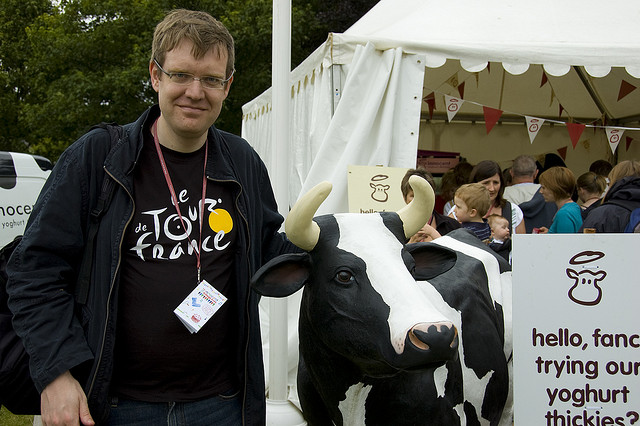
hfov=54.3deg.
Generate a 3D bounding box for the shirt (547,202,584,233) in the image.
[{"bbox_3d":[2.666,0.080,6.779,0.299,0.473,0.572,8,14,24],"label":"shirt"}]

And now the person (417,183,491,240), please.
[{"bbox_3d":[1.305,0.127,6.023,0.666,0.772,0.543,3,12,17],"label":"person"}]

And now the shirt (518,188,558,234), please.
[{"bbox_3d":[2.492,-0.005,7.100,0.456,0.498,0.268,1,2,-11],"label":"shirt"}]

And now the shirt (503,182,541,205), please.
[{"bbox_3d":[2.448,-0.212,7.583,0.275,0.169,0.508,-32,16,-16],"label":"shirt"}]

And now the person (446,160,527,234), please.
[{"bbox_3d":[1.741,-0.149,6.537,0.637,0.967,0.463,2,-18,-3],"label":"person"}]

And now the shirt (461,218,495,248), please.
[{"bbox_3d":[1.482,0.206,5.914,0.296,0.318,0.222,4,-14,-7],"label":"shirt"}]

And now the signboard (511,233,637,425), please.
[{"bbox_3d":[1.599,0.688,3.863,1.054,1.671,0.016,0,0,2],"label":"signboard"}]
